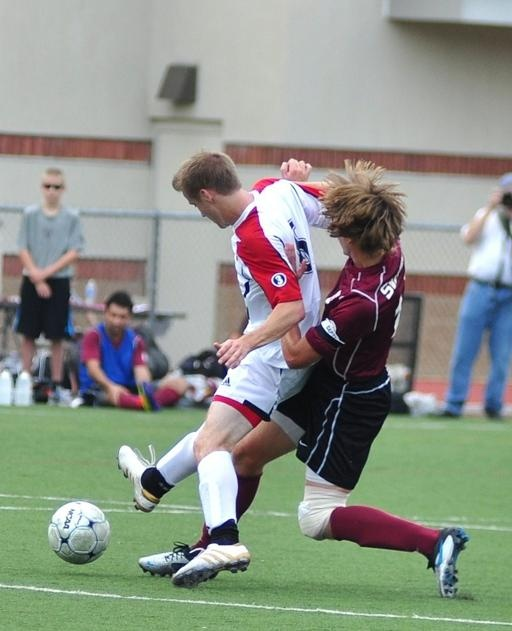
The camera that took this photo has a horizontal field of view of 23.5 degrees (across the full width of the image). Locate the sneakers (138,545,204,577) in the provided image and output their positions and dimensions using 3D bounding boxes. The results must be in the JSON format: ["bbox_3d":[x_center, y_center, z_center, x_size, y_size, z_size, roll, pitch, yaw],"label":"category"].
[{"bbox_3d":[-0.322,0.912,4.553,0.276,0.125,0.094,1,-7,-6],"label":"sneakers"}]

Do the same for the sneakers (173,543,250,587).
[{"bbox_3d":[-0.161,0.887,4.328,0.275,0.189,0.122,8,5,31],"label":"sneakers"}]

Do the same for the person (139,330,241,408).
[{"bbox_3d":[-0.589,0.509,10.419,0.669,0.321,0.717,-1,-18,11],"label":"person"}]

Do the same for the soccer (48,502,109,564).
[{"bbox_3d":[-0.659,0.826,4.562,0.204,0.232,0.177,6,4,8],"label":"soccer"}]

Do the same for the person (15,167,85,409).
[{"bbox_3d":[-1.516,-0.198,8.984,0.488,1.756,0.424,5,5,-19],"label":"person"}]

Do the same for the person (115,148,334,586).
[{"bbox_3d":[-0.099,0.176,4.590,0.635,1.563,0.771,6,4,2],"label":"person"}]

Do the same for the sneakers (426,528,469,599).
[{"bbox_3d":[0.693,0.867,4.428,0.135,0.267,0.101,11,16,15],"label":"sneakers"}]
